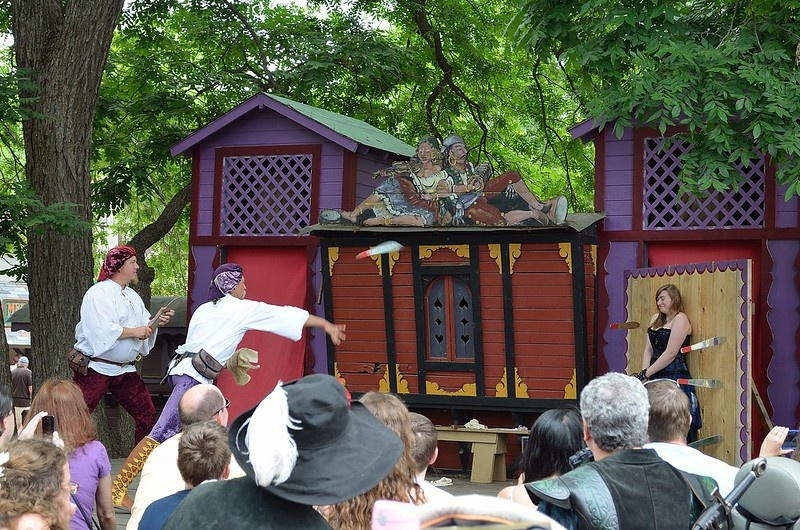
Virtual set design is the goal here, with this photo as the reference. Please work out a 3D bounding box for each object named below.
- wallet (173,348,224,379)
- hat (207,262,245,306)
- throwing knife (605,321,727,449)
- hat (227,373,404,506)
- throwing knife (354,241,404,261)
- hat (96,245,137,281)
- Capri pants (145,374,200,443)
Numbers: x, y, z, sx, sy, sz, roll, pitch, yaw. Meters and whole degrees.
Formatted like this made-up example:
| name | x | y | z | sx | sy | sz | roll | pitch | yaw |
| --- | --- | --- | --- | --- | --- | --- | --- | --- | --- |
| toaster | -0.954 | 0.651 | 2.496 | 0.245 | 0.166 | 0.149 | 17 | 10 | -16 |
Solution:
| name | x | y | z | sx | sy | sz | roll | pitch | yaw |
| --- | --- | --- | --- | --- | --- | --- | --- | --- | --- |
| wallet | -2.109 | 1.070 | 11.839 | 0.331 | 0.200 | 0.429 | 45 | -35 | -22 |
| hat | -1.910 | 0.175 | 12.267 | 0.448 | 0.325 | 0.312 | -9 | 6 | -4 |
| throwing knife | 2.999 | 1.351 | 12.607 | 0.389 | 1.192 | 1.273 | 2 | 0 | -30 |
| hat | -0.600 | 1.091 | 8.045 | 1.304 | 0.453 | 1.295 | -8 | 28 | -3 |
| throwing knife | -0.265 | -0.189 | 14.809 | 0.667 | 0.233 | 0.117 | -1 | -3 | 30 |
| hat | -3.180 | -0.029 | 12.542 | 0.482 | 0.360 | 0.320 | -12 | 5 | -10 |
| Capri pants | -2.361 | 1.510 | 11.622 | 0.527 | 0.768 | 0.341 | 13 | -4 | 19 |
